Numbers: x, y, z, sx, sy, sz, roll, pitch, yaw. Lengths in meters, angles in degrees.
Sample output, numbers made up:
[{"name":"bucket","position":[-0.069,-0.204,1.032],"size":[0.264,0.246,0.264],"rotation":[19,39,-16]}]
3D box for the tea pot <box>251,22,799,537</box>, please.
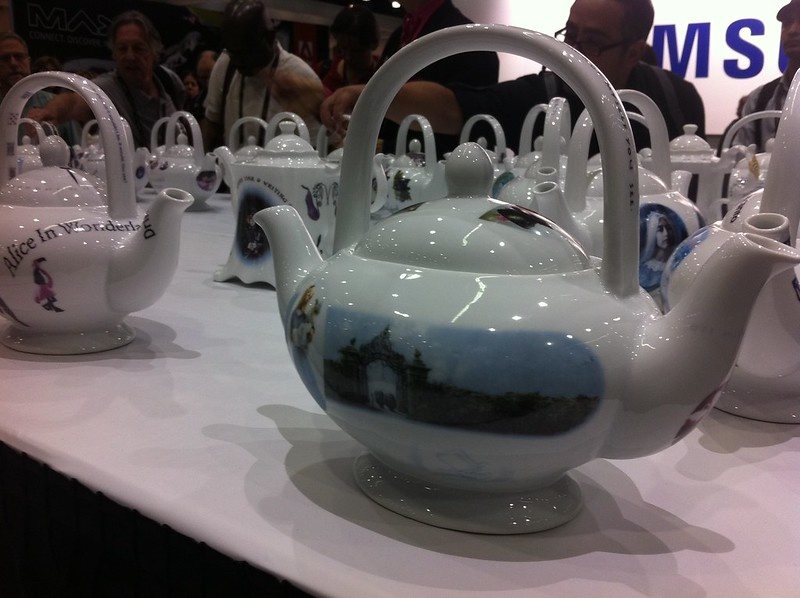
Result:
[{"name":"tea pot","position":[0.106,-0.061,0.849],"size":[0.670,0.626,0.435],"rotation":[8,13,25]}]
